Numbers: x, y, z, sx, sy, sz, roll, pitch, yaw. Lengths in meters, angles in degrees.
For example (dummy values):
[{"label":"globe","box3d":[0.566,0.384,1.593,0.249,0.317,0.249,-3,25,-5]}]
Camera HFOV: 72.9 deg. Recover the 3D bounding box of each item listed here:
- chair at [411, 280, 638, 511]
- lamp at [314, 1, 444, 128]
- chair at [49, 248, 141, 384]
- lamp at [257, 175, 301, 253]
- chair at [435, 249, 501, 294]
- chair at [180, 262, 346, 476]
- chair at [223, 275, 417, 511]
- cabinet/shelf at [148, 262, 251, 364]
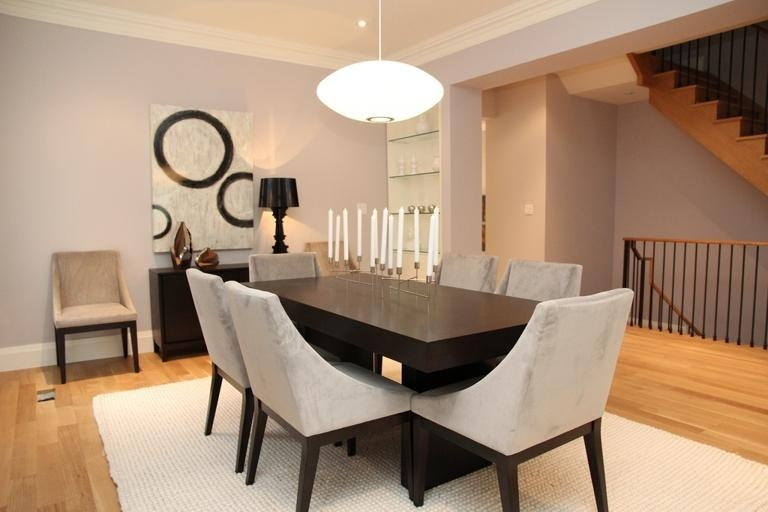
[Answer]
[{"label":"chair","box3d":[0.998,0.791,3.523,1.137,1.770,1.295,-1,2,-38]},{"label":"lamp","box3d":[-0.033,-1.375,3.880,0.606,0.761,0.606,-4,11,-36]},{"label":"chair","box3d":[-2.857,0.531,5.080,0.677,1.162,0.837,-6,8,-33]},{"label":"lamp","box3d":[-1.238,-0.489,6.024,0.439,0.871,0.370,-3,7,-14]},{"label":"chair","box3d":[0.693,0.133,4.383,0.374,0.473,0.330,11,-5,-43]},{"label":"chair","box3d":[-0.927,0.731,3.869,0.899,1.382,0.986,5,11,38]},{"label":"chair","box3d":[-0.580,0.765,3.837,1.316,2.020,1.158,-5,8,-35]},{"label":"cabinet/shelf","box3d":[-1.793,0.619,5.560,1.085,0.946,0.440,-7,-24,-17]}]
